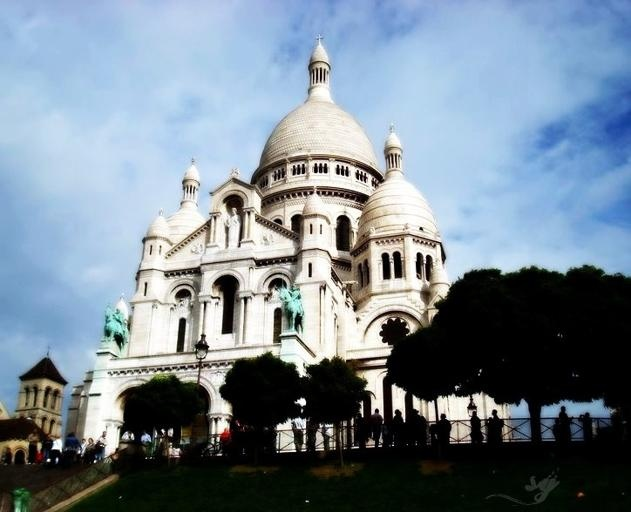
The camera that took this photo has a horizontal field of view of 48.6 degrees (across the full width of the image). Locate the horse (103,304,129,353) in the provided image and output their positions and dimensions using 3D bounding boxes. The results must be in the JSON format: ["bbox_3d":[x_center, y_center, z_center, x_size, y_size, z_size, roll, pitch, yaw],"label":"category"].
[{"bbox_3d":[-14.162,5.157,49.758,0.849,2.863,2.497,-4,2,12],"label":"horse"}]

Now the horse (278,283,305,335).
[{"bbox_3d":[-1.488,3.654,46.150,1.263,2.448,2.781,-5,2,-4],"label":"horse"}]
